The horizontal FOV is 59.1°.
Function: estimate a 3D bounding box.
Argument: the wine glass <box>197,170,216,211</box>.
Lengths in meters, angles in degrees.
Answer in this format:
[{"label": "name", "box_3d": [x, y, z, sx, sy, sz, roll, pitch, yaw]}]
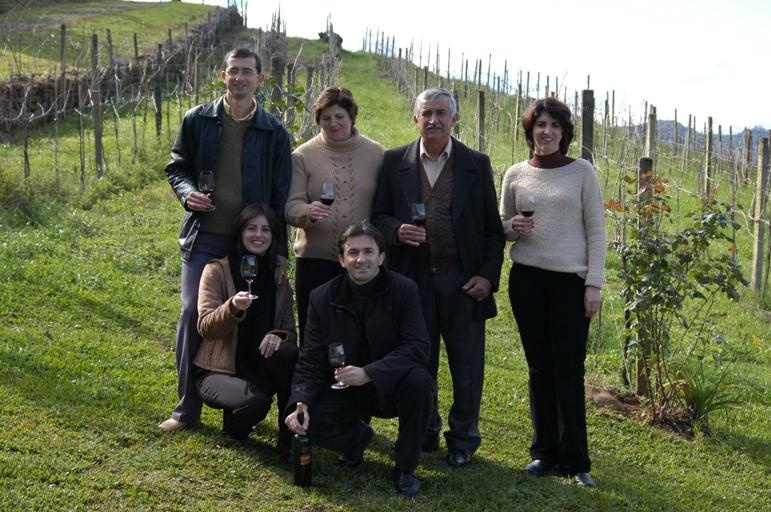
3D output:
[{"label": "wine glass", "box_3d": [-1.580, -0.591, 6.160, 0.148, 0.372, 0.262, 3, 5, -14]}]

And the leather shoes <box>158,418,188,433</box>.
[{"label": "leather shoes", "box_3d": [-1.900, 1.525, 6.152, 0.082, 0.117, 0.200, -1, -3, 32]}]

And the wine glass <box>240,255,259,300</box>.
[{"label": "wine glass", "box_3d": [-1.167, 0.205, 5.994, 0.171, 0.420, 0.419, 4, 5, -13]}]

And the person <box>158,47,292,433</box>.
[{"label": "person", "box_3d": [-1.498, -0.118, 6.396, 1.180, 3.609, 1.054, 2, 3, -29]}]

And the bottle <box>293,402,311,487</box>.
[{"label": "bottle", "box_3d": [-0.672, 1.707, 5.724, 0.167, 0.441, 0.083, 4, 5, -12]}]

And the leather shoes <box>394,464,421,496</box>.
[{"label": "leather shoes", "box_3d": [0.210, 1.918, 5.807, 0.236, 0.193, 0.190, 5, 5, -2]}]

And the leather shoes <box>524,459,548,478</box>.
[{"label": "leather shoes", "box_3d": [1.378, 1.901, 6.149, 0.183, 0.114, 0.084, 2, -27, 10]}]

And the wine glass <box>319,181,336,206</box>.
[{"label": "wine glass", "box_3d": [-0.498, -0.572, 6.254, 0.134, 0.223, 0.277, 5, 5, -4]}]

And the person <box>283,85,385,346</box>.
[{"label": "person", "box_3d": [-0.355, -0.022, 6.658, 1.117, 3.081, 0.933, -9, 17, -30]}]

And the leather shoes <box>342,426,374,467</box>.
[{"label": "leather shoes", "box_3d": [-0.234, 1.693, 6.054, 0.107, 0.344, 0.225, 14, 0, 39]}]

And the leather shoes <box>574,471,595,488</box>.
[{"label": "leather shoes", "box_3d": [1.773, 1.973, 5.999, 0.183, 0.060, 0.143, 6, 5, 1]}]

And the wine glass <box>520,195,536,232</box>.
[{"label": "wine glass", "box_3d": [1.278, -0.378, 6.076, 0.151, 0.329, 0.128, 4, 5, -3]}]

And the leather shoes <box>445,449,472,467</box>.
[{"label": "leather shoes", "box_3d": [0.686, 1.835, 6.183, 0.201, 0.148, 0.080, 5, 5, -5]}]
